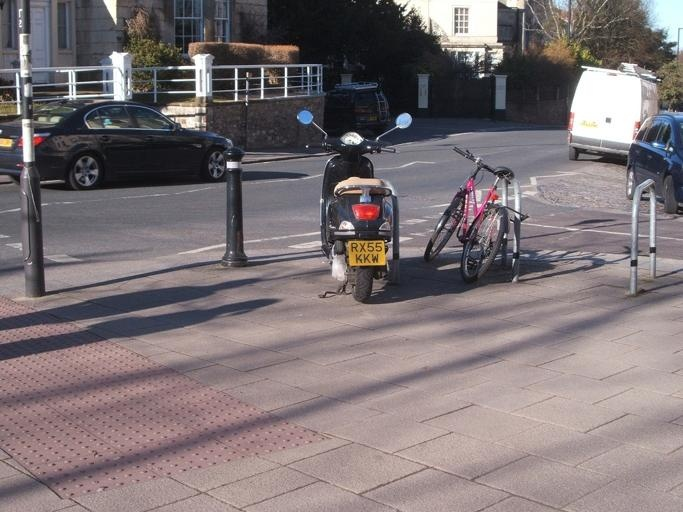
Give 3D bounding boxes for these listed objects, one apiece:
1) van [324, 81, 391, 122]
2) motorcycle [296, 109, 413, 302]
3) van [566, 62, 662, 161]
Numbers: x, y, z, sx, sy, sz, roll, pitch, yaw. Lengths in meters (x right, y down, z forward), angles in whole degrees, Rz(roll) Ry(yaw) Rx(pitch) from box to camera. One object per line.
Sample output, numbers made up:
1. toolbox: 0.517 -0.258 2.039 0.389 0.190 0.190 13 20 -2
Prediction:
1. van: 0.443 -5.707 33.505 1.849 1.722 3.361 -4 19 -21
2. motorcycle: 0.140 -0.578 9.856 1.092 1.952 1.651 1 13 2
3. van: 7.709 -4.129 25.157 1.890 1.670 3.290 4 13 22
